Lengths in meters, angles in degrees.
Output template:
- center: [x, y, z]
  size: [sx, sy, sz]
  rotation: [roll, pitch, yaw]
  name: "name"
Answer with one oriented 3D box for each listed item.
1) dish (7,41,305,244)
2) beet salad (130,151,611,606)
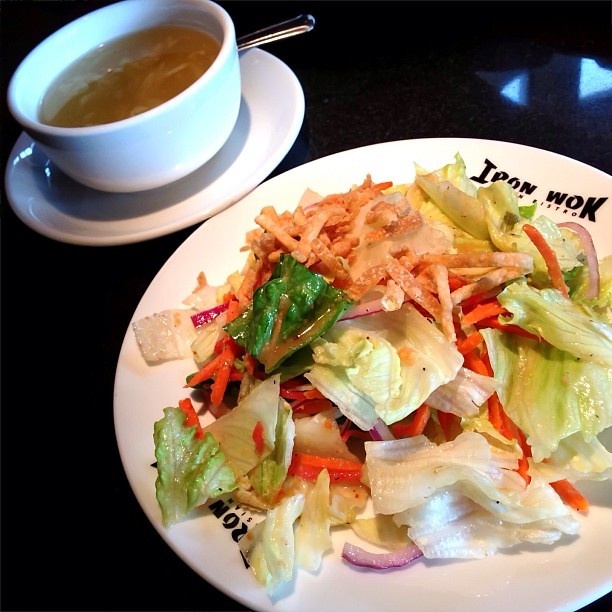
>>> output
- center: [-0.567, -0.485, 1.885]
  size: [1.090, 0.651, 0.793]
  rotation: [-26, 42, -31]
  name: "dish"
- center: [0.160, 0.182, 1.135]
  size: [0.846, 0.599, 1.074]
  rotation: [8, 52, -4]
  name: "beet salad"
